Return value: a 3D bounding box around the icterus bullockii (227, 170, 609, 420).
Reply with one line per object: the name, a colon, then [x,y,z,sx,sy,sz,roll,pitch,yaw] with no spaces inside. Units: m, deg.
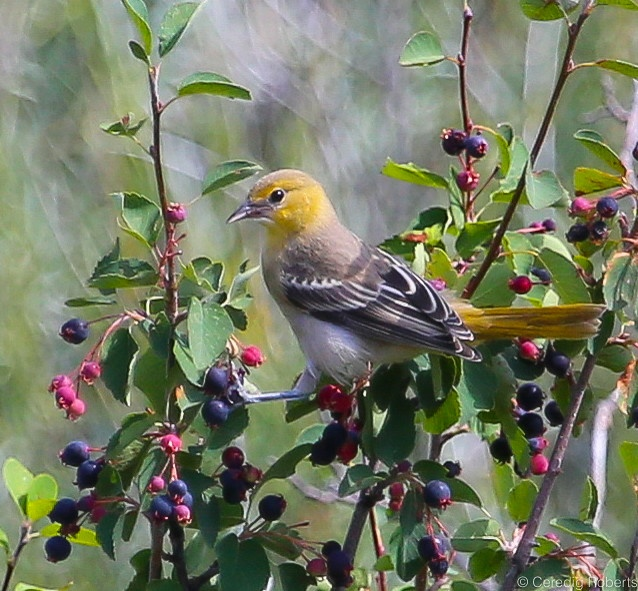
icterus bullockii: [0.519,-0.070,5.100,1.897,1.212,0.771,2,-5,12]
